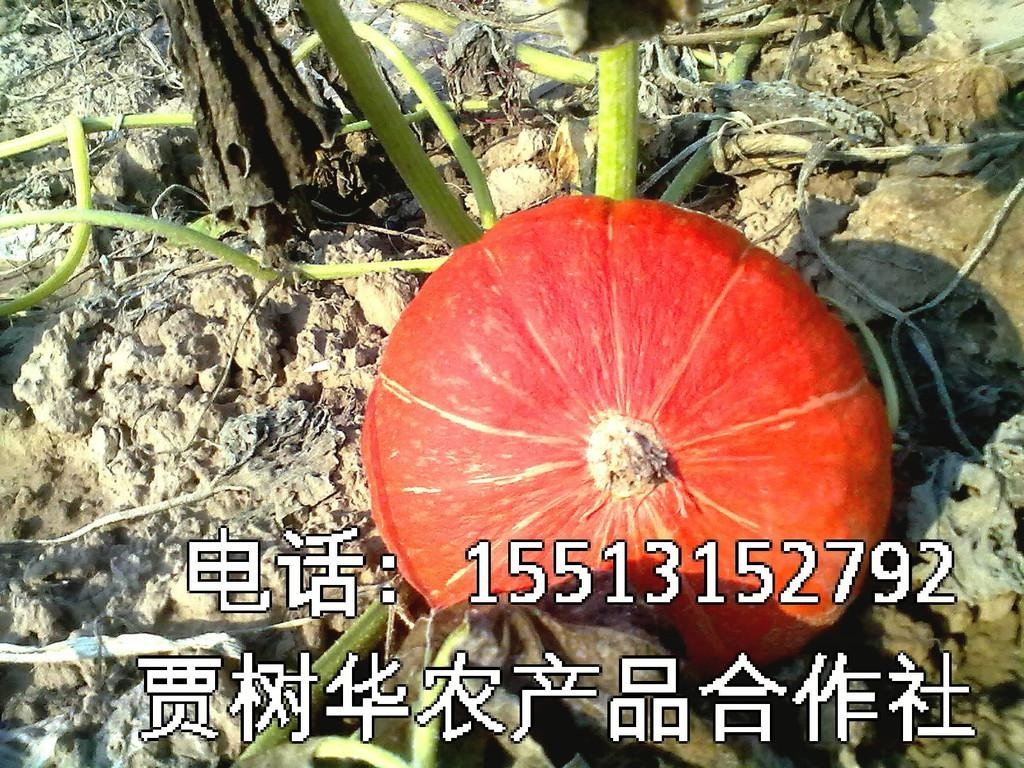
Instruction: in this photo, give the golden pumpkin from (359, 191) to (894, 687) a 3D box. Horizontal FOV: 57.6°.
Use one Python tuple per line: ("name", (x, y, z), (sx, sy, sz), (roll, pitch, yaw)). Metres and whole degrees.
("golden pumpkin", (0.349, 0.014, 3.124), (1.460, 0.703, 1.392), (15, -50, -16))
